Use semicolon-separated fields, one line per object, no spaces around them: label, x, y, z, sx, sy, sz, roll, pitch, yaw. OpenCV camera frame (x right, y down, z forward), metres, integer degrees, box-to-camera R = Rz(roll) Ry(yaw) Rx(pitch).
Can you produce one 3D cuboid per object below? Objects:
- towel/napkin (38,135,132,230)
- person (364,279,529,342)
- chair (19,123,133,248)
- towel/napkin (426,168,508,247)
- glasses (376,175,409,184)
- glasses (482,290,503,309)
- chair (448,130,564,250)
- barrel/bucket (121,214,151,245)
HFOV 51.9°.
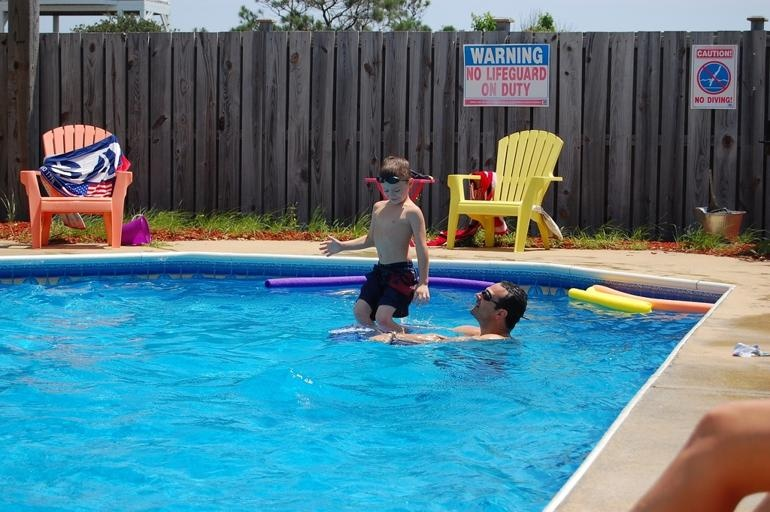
towel/napkin;-3.462;-0.795;9.056;0.906;1.047;1.125;-1;19;-15
person;0.616;0.431;5.958;0.760;0.311;0.581;1;1;5
chair;-3.555;-0.856;9.214;1.106;1.419;1.558;-1;9;-18
towel/napkin;0.951;-0.572;10.184;0.909;1.314;0.881;0;1;-35
glasses;0.050;-0.588;6.008;0.241;0.075;0.168;3;15;9
glasses;0.782;0.304;5.808;0.122;0.041;0.120;31;2;-23
chair;1.465;-0.797;9.393;1.162;1.417;1.349;6;8;36
barrel/bucket;-2.904;-0.295;9.245;0.294;0.365;0.210;10;13;13
